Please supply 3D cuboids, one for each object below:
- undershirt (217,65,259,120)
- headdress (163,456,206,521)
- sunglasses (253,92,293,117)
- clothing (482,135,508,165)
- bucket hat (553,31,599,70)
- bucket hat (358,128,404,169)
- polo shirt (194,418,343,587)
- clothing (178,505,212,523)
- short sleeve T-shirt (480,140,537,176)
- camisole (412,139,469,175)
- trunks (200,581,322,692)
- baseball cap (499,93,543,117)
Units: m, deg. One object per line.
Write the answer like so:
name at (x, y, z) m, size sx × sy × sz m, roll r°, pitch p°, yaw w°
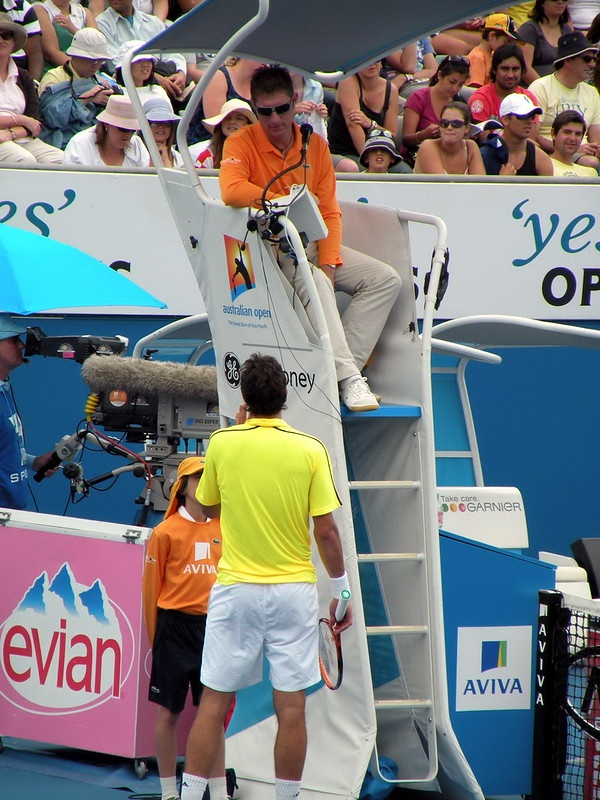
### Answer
undershirt at (-0.407, -2.108, 8.935) m, size 0.332 × 0.424 × 0.408 m, roll -4°, pitch 20°, yaw 1°
headdress at (-0.507, 0.378, 5.584) m, size 0.106 × 0.257 × 0.199 m, roll 23°, pitch 2°, yaw 13°
sunglasses at (-0.113, -1.267, 5.603) m, size 0.174 × 0.109 × 0.158 m, roll -1°, pitch 4°, yaw -4°
clothing at (1.402, -1.805, 9.349) m, size 0.187 × 0.229 × 0.241 m, roll -1°, pitch 5°, yaw 8°
bucket hat at (2.209, -2.839, 10.482) m, size 0.319 × 0.171 × 0.331 m, roll -7°, pitch -3°, yaw 24°
bucket hat at (0.567, -1.733, 9.296) m, size 0.266 × 0.215 × 0.358 m, roll 3°, pitch -27°, yaw -1°
polo shirt at (-0.117, 0.417, 5.082) m, size 0.800 × 0.806 × 0.330 m, roll 0°, pitch 1°, yaw 12°
clothing at (-0.454, 0.502, 5.579) m, size 0.108 × 0.037 × 0.082 m, roll 25°, pitch 20°, yaw 20°
short sleeve T-shirt at (1.489, -1.736, 9.353) m, size 0.372 × 0.322 × 0.203 m, roll 1°, pitch -8°, yaw -19°
camisole at (0.974, -1.713, 9.261) m, size 0.426 × 0.340 × 0.243 m, roll -4°, pitch 1°, yaw 4°
trunks at (-0.138, 0.923, 5.093) m, size 0.503 × 0.412 × 0.271 m, roll -2°, pitch -9°, yaw 4°
baseball cap at (1.572, -2.120, 9.292) m, size 0.186 × 0.141 × 0.272 m, roll -3°, pitch 8°, yaw -26°
